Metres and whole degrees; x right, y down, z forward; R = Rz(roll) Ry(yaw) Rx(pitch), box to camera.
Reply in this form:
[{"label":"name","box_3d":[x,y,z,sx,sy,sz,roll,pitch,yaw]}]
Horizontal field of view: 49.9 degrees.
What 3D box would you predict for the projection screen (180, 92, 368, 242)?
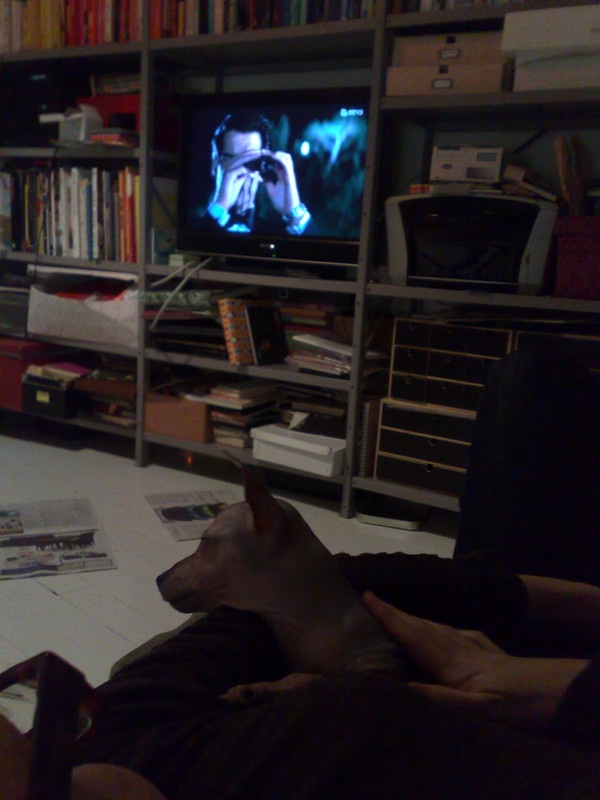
[{"label":"projection screen","box_3d":[-0.070,-0.841,2.302,0.609,0.434,0.066,11,18,20]}]
